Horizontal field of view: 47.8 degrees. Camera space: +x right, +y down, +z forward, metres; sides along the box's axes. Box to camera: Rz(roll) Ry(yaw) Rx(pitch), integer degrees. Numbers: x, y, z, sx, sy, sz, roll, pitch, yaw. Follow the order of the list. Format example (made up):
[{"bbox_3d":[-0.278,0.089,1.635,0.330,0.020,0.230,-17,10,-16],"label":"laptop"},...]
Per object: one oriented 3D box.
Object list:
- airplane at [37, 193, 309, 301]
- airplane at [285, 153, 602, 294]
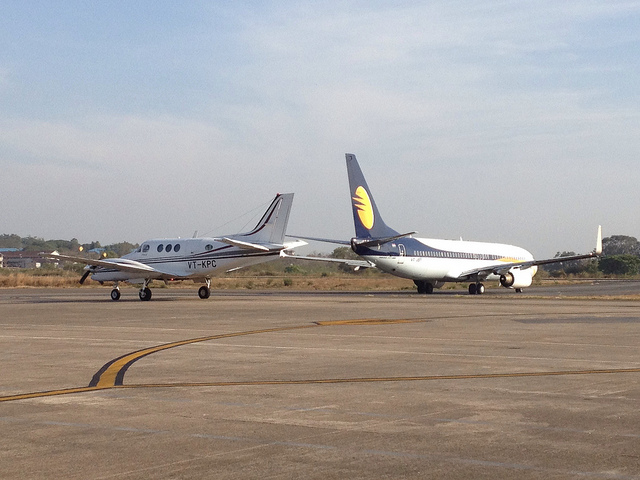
[{"bbox_3d":[-6.874,0.480,39.391,7.008,5.608,8.751,4,-5,-42],"label":"airplane"},{"bbox_3d":[11.214,-0.801,51.962,7.837,8.213,22.141,-3,-5,39],"label":"airplane"}]
